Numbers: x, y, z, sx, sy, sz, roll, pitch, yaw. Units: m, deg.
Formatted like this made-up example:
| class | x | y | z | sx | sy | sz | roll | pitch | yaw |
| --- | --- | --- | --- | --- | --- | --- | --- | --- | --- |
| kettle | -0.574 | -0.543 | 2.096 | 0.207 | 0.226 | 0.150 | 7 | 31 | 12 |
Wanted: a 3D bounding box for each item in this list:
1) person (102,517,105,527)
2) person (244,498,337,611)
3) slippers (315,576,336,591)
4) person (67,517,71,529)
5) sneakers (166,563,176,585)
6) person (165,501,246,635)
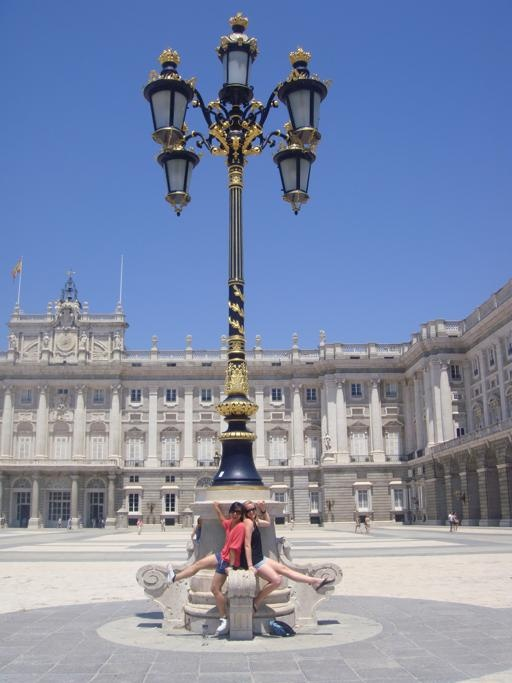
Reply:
| class | x | y | z | sx | sy | sz | roll | pitch | yaw |
| --- | --- | --- | --- | --- | --- | --- | --- | --- | --- |
| person | -11.896 | 13.911 | 58.332 | 0.176 | 0.754 | 0.685 | 4 | -14 | -26 |
| person | 0.236 | 2.243 | 8.014 | 0.471 | 1.092 | 1.055 | -9 | -14 | 25 |
| slippers | 0.750 | 2.668 | 8.373 | 0.080 | 0.095 | 0.275 | -7 | -3 | 43 |
| person | -14.128 | 13.602 | 56.819 | 0.302 | 0.830 | 1.833 | 0 | -13 | -14 |
| sneakers | -0.945 | 2.517 | 8.342 | 0.121 | 0.273 | 0.092 | -4 | -40 | 6 |
| person | -0.454 | 2.366 | 7.940 | 0.425 | 1.311 | 0.968 | 5 | -15 | -31 |
